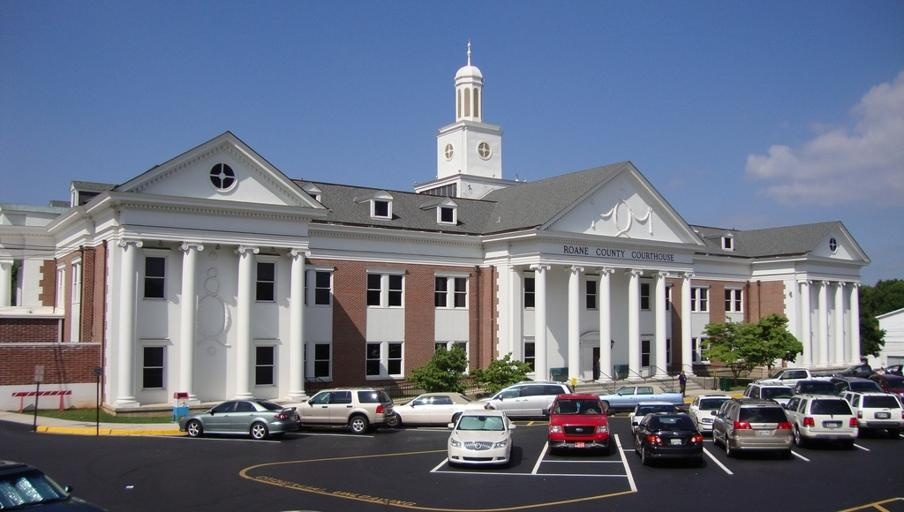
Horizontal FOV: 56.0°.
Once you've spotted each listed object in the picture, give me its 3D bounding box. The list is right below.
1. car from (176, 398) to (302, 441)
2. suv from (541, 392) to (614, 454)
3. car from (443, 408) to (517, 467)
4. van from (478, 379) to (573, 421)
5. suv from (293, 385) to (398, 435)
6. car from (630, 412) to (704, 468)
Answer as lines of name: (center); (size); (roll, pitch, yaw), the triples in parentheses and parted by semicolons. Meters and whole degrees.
car: (-12.583, 9.772, 50.592); (7.022, 2.140, 2.572); (-1, -4, 13)
suv: (7.094, 9.272, 47.838); (3.054, 2.409, 7.050); (-1, -3, 12)
car: (1.695, 9.638, 47.357); (3.335, 2.147, 6.823); (1, 4, 6)
van: (5.092, 10.009, 58.168); (8.376, 2.570, 3.071); (0, -3, 3)
suv: (-6.674, 9.579, 53.015); (5.981, 1.984, 2.678); (1, -5, 12)
car: (11.938, 9.724, 47.090); (3.321, 2.095, 6.391); (-3, -1, 6)
